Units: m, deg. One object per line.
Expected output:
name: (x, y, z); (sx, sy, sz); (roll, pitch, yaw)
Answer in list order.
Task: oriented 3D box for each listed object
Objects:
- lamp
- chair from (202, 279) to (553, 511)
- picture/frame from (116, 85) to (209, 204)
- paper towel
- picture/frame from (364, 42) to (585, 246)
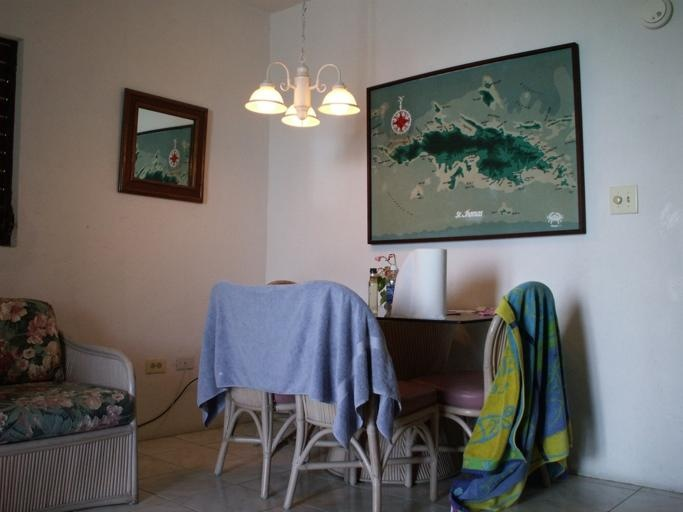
lamp: (-0.243, -1.425, 3.733); (0.663, 1.196, 1.142); (0, 0, -1)
chair: (0.143, 0.498, 3.155); (0.997, 1.002, 1.479); (-1, 0, 33)
picture/frame: (-1.297, -0.786, 3.847); (0.726, 0.996, 0.067); (6, -1, -28)
paper towel: (0.437, 0.149, 2.986); (0.372, 0.445, 0.241); (-3, -10, 20)
picture/frame: (0.887, -0.701, 3.441); (1.220, 1.030, 0.054); (-3, -5, 34)
